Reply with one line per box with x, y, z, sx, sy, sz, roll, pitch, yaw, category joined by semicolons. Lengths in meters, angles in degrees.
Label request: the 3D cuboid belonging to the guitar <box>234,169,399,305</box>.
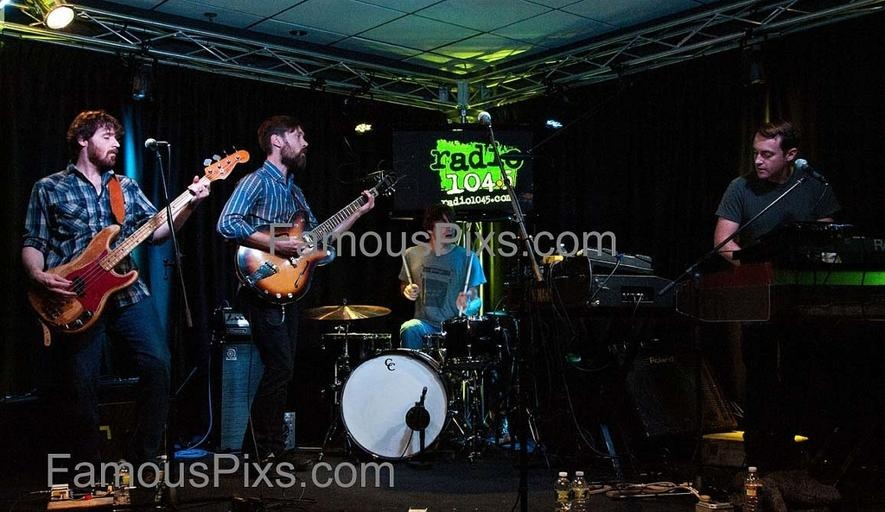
-1.253;-0.316;8.216;0.253;0.803;2.053;-13;25;49;guitar

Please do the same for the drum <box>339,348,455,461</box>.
-0.458;1.481;7.812;1.056;1.071;0.611;8;-2;6;drum

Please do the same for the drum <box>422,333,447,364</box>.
-0.067;0.946;7.988;0.288;0.309;0.276;7;-11;-35;drum

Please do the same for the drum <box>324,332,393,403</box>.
-1.068;1.216;8.564;0.698;0.708;0.710;-6;-11;41;drum

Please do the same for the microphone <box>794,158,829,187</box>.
3.525;-0.795;7.414;0.158;0.145;0.524;-15;34;-2;microphone

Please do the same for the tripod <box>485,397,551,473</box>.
0.713;2.010;8.378;0.586;0.800;0.294;-19;0;34;tripod

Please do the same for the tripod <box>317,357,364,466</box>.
-1.068;1.677;8.186;0.464;1.302;0.469;9;-32;-7;tripod

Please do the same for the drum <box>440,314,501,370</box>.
0.296;0.888;7.944;0.491;0.348;0.485;-1;-14;0;drum
